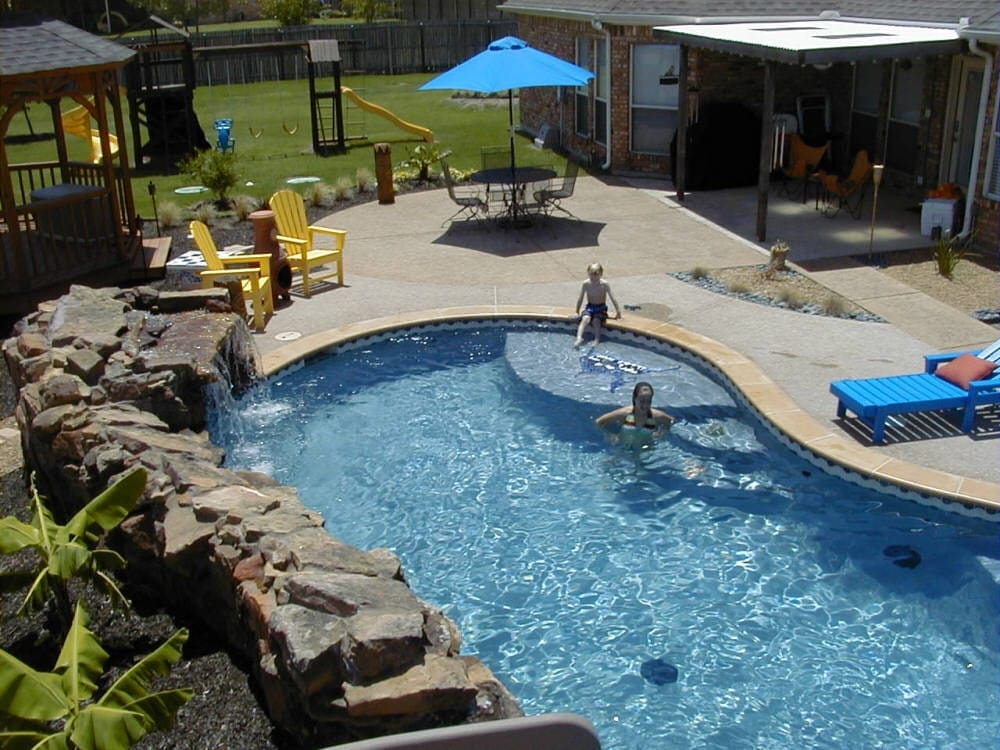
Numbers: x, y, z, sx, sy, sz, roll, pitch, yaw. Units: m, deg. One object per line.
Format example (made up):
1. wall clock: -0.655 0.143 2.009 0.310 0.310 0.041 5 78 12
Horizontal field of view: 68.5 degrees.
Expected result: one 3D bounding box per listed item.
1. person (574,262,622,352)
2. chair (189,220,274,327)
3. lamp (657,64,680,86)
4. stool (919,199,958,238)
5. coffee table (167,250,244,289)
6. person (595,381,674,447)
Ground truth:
1. person: 1.535 -1.174 11.324 0.718 1.258 1.666 2 22 8
2. chair: -4.321 -1.652 11.969 1.111 1.566 1.476 -6 24 -11
3. lamp: 4.553 -8.035 19.839 0.669 0.565 0.512 -1 59 3
4. stool: 8.740 -3.191 14.676 1.138 0.633 0.610 -10 14 -44
5. coffee table: -5.185 -1.853 12.964 1.105 0.600 1.300 -4 40 -8
6. person: 1.661 0.398 8.901 0.677 0.927 0.660 20 32 40
